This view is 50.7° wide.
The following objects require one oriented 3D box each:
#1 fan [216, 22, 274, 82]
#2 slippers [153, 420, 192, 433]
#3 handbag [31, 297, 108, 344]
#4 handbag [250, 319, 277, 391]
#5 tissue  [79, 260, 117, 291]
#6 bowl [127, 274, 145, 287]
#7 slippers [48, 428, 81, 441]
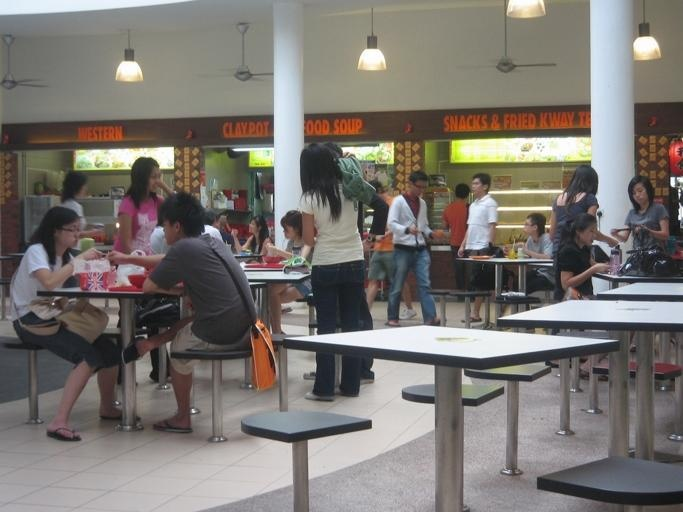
[{"bbox_3d":[-1.717,-3.601,12.694,0.691,1.162,1.038,-1,3,6],"label":"fan"},{"bbox_3d":[-1.210,1.220,5.118,0.249,0.068,0.102,4,-2,10],"label":"slippers"},{"bbox_3d":[-1.937,0.444,5.157,0.407,0.171,0.326,9,0,16],"label":"handbag"},{"bbox_3d":[-0.525,0.650,4.762,0.158,0.446,0.291,-2,3,-8],"label":"handbag"},{"bbox_3d":[-1.719,0.133,5.033,0.218,0.214,0.219,0,0,10],"label":"tissue "},{"bbox_3d":[-1.444,0.170,5.041,0.103,0.066,0.104,1,3,0],"label":"bowl"},{"bbox_3d":[-1.910,1.207,4.940,0.184,0.050,0.092,2,1,25],"label":"slippers"}]
